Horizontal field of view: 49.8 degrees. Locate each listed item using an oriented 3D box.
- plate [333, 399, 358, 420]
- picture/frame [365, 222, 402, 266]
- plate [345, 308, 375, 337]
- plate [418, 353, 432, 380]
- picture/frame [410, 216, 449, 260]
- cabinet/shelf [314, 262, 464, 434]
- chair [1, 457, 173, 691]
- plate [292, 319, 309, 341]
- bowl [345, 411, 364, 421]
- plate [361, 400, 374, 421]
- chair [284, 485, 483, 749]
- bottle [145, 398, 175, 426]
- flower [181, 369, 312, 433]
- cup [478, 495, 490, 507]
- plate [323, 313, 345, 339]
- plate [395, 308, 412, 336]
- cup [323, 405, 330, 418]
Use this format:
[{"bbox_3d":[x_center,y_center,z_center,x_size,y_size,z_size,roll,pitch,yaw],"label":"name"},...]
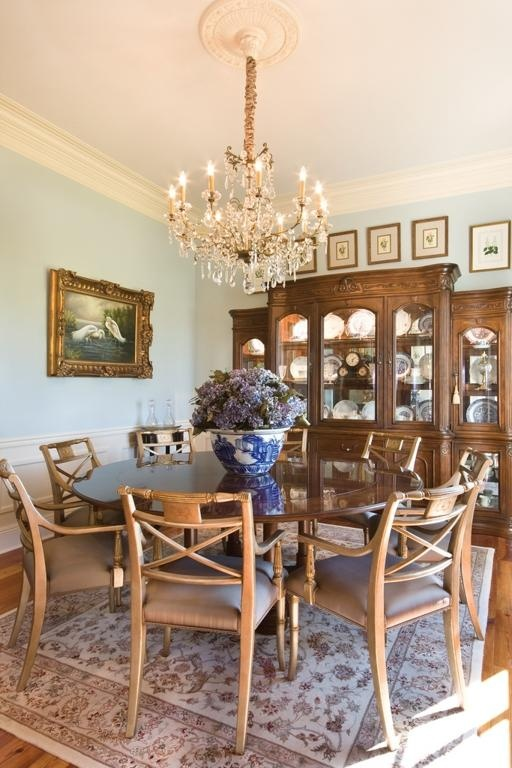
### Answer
[{"bbox_3d":[0.715,0.202,4.420,0.154,0.161,0.037,2,-2,35],"label":"plate"},{"bbox_3d":[1.090,-1.190,4.686,0.377,0.457,0.019,0,0,31],"label":"picture/frame"},{"bbox_3d":[0.778,-0.478,4.310,0.198,0.207,0.047,8,8,43],"label":"plate"},{"bbox_3d":[1.265,-0.136,4.141,0.105,0.196,0.019,4,6,43],"label":"plate"},{"bbox_3d":[1.417,-1.190,4.493,0.373,0.452,0.034,-1,-4,34],"label":"picture/frame"},{"bbox_3d":[1.055,-0.261,4.248,1.251,1.532,0.409,-2,-5,26],"label":"cabinet/shelf"},{"bbox_3d":[-0.724,0.661,2.620,0.785,1.178,0.760,-1,3,-22],"label":"chair"},{"bbox_3d":[0.368,-0.452,4.624,0.037,0.159,0.155,-1,-8,-14],"label":"plate"},{"bbox_3d":[0.774,0.246,4.383,0.071,0.074,0.017,-5,-33,23],"label":"bowl"},{"bbox_3d":[0.887,0.197,4.332,0.128,0.133,0.022,29,16,38],"label":"plate"},{"bbox_3d":[0.677,0.770,2.402,0.763,1.240,0.795,3,-3,-37],"label":"chair"},{"bbox_3d":[-0.877,0.251,4.999,0.087,0.219,0.229,-3,-5,36],"label":"bottle"},{"bbox_3d":[-0.013,0.079,2.476,0.362,0.231,0.356,2,-2,-43],"label":"flower"},{"bbox_3d":[1.680,0.855,4.064,0.084,0.087,0.054,-1,-13,38],"label":"cup"},{"bbox_3d":[0.625,-0.465,4.481,0.182,0.192,0.049,6,0,26],"label":"plate"},{"bbox_3d":[1.113,-0.471,4.211,0.162,0.171,0.041,17,13,25],"label":"plate"},{"bbox_3d":[0.570,0.226,4.435,0.060,0.082,0.086,3,7,18],"label":"cup"}]
